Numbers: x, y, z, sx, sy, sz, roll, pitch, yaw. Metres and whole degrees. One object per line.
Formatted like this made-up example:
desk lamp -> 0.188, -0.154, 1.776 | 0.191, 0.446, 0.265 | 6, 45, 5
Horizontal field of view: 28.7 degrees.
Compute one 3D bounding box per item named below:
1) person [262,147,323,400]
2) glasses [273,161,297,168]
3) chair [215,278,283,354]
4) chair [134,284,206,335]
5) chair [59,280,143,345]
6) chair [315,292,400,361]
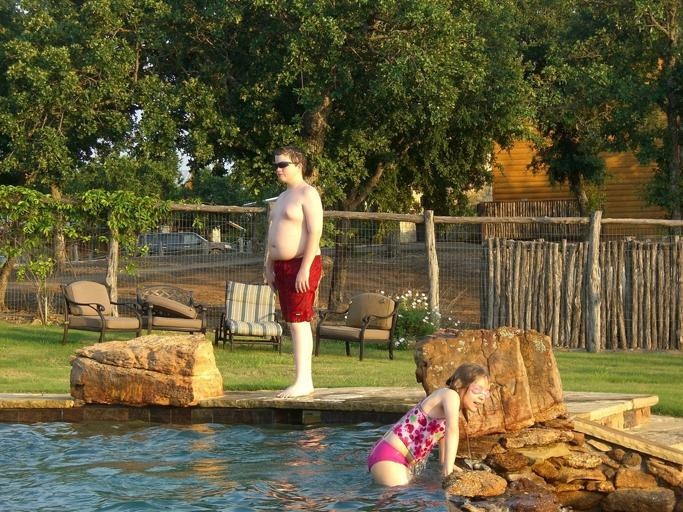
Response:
person -> -0.722, 0.297, 20.935 | 0.884, 3.905, 0.552 | -1, -2, 4
glasses -> -0.860, -1.381, 20.794 | 0.361, 0.112, 0.142 | -2, -3, 2
chair -> -1.733, 1.208, 25.981 | 1.142, 1.249, 1.766 | 6, 3, -19
chair -> -3.356, 1.027, 26.122 | 0.982, 1.193, 1.278 | 2, -8, -22
chair -> -4.500, 1.137, 25.873 | 1.511, 1.558, 1.158 | -2, -3, 35
chair -> 0.291, 1.343, 25.687 | 1.015, 1.179, 1.337 | 2, 0, -42
